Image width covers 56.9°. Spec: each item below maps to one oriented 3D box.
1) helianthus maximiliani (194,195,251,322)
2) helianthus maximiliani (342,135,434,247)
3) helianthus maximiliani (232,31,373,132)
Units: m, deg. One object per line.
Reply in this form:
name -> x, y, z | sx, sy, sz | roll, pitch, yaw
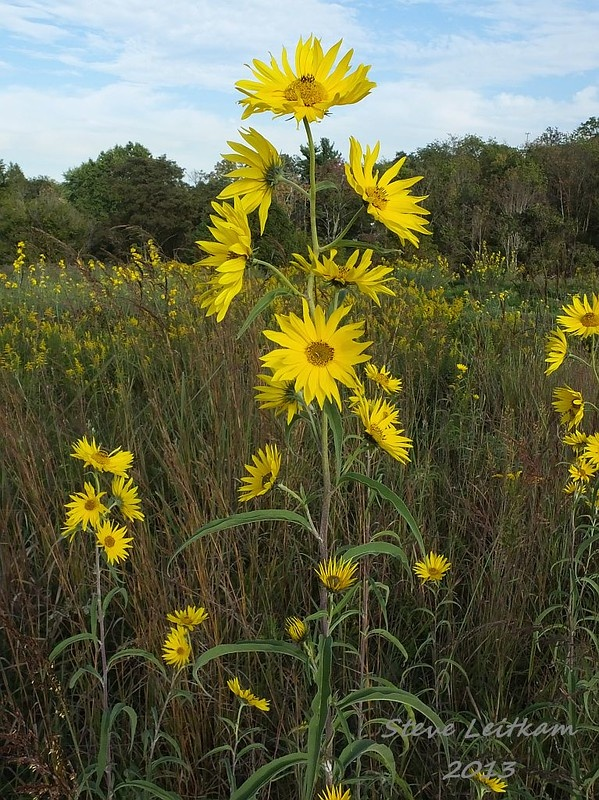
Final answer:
helianthus maximiliani -> -0.140, -0.271, 1.054 | 0.100, 0.234, 0.282 | -2, 11, -11
helianthus maximiliani -> 0.154, -0.429, 1.103 | 0.221, 0.106, 0.211 | 33, 2, -10
helianthus maximiliani -> 0.007, -0.625, 1.061 | 0.280, 0.102, 0.264 | -10, 14, -38
